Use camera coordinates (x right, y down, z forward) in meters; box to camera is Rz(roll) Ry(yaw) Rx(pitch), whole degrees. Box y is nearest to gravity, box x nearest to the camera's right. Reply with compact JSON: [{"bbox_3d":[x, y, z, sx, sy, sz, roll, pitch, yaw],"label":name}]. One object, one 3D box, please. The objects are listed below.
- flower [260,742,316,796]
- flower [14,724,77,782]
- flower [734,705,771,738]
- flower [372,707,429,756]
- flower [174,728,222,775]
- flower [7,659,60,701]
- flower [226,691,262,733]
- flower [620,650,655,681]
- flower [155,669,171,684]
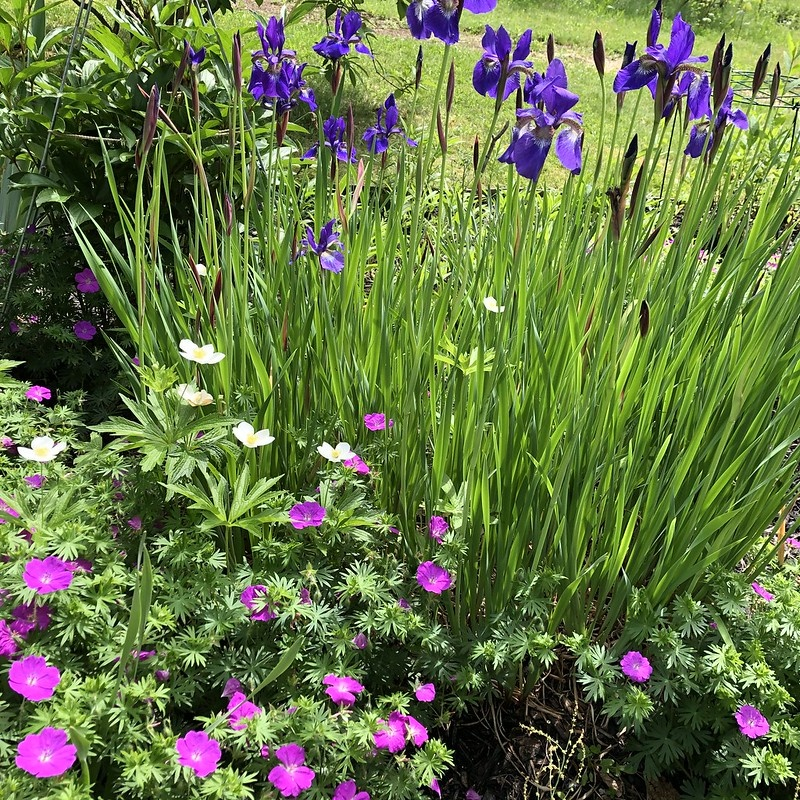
[{"bbox_3d":[-0.209,0.718,1.511,0.085,0.047,0.080,4,30,-10],"label":"flower"},{"bbox_3d":[-0.620,0.628,1.371,0.118,0.071,0.123,14,-9,-28],"label":"flower"},{"bbox_3d":[0.757,0.697,1.689,0.057,0.026,0.075,3,47,-2],"label":"flower"},{"bbox_3d":[-0.003,0.689,1.611,0.084,0.025,0.097,26,57,16],"label":"flower"},{"bbox_3d":[-0.380,0.681,1.484,0.076,0.063,0.085,-8,33,-26],"label":"flower"},{"bbox_3d":[-0.694,0.532,1.487,0.077,0.049,0.088,23,32,-23],"label":"flower"},{"bbox_3d":[-0.312,0.624,1.567,0.065,0.033,0.066,-10,54,-26],"label":"flower"},{"bbox_3d":[0.529,0.598,1.757,0.064,0.034,0.071,31,78,11],"label":"flower"},{"bbox_3d":[-0.501,0.587,1.657,0.029,0.032,0.020,18,29,19],"label":"flower"}]
